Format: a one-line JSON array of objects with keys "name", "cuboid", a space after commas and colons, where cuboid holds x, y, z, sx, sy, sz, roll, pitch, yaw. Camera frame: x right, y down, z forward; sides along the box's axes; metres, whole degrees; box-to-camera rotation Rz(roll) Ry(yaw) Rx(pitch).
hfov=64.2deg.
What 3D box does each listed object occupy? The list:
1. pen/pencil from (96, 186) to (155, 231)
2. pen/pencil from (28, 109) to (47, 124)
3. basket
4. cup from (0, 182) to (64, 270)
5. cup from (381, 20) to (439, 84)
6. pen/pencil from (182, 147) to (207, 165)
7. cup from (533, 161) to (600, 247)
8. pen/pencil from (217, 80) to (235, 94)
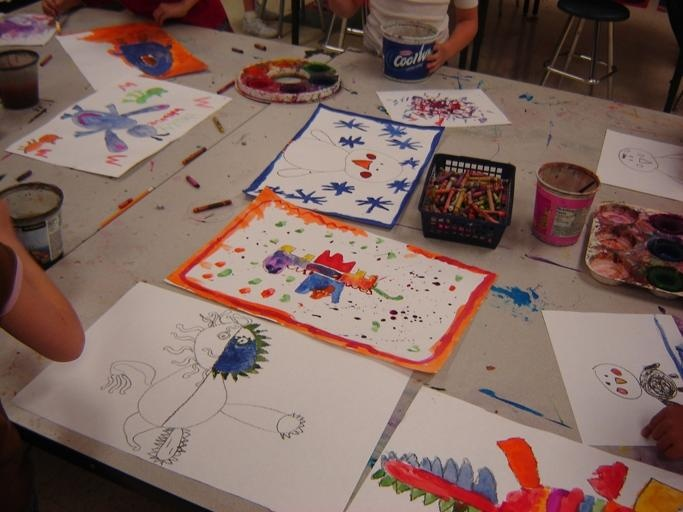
[{"name": "pen/pencil", "cuboid": [-0.497, -0.105, 1.247, 0.026, 0.018, 0.131, 28, 52, 24]}, {"name": "pen/pencil", "cuboid": [-0.842, -0.383, 1.503, 0.010, 0.021, 0.057, 26, 62, 30]}, {"name": "basket", "cuboid": [0.292, -0.179, 1.201, 0.195, 0.089, 0.250, 12, 48, 14]}, {"name": "cup", "cuboid": [-0.604, -0.055, 1.057, 0.106, 0.109, 0.108, 7, 45, -7]}, {"name": "cup", "cuboid": [0.195, -0.617, 1.722, 0.170, 0.136, 0.176, -2, 43, 2]}, {"name": "pen/pencil", "cuboid": [-0.377, -0.254, 1.387, 0.025, 0.021, 0.085, 30, 53, 28]}, {"name": "cup", "cuboid": [0.490, -0.107, 1.186, 0.112, 0.123, 0.111, -4, 47, 4]}, {"name": "pen/pencil", "cuboid": [-0.351, -0.508, 1.646, 0.015, 0.014, 0.068, 37, 43, 0]}]
